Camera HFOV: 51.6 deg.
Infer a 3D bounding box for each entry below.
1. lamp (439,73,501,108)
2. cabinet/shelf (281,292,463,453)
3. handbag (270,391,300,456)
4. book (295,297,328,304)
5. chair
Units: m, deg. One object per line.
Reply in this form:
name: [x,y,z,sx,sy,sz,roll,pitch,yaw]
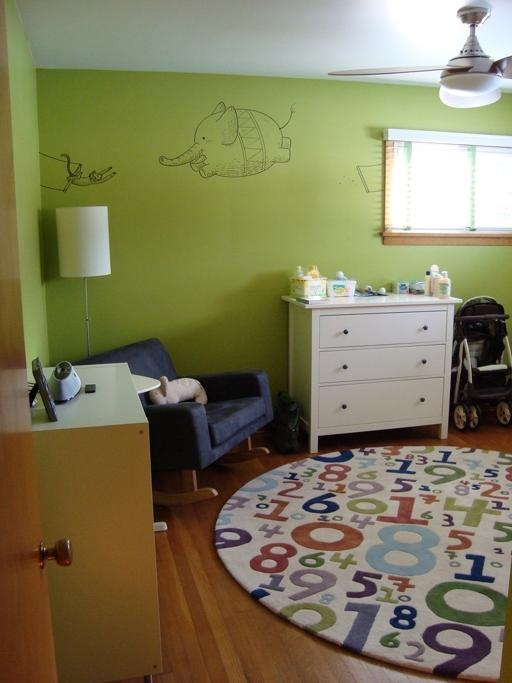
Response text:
lamp: [0.949,-1.127,2.377,0.212,0.055,0.226,1,2,42]
cabinet/shelf: [0.721,0.166,3.914,1.533,1.474,0.889,-3,9,-14]
handbag: [0.198,0.556,3.531,0.172,0.368,0.371,0,3,-6]
book: [0.370,-0.268,3.428,0.093,0.024,0.100,-8,13,-36]
chair: [-0.448,0.444,3.100,0.765,0.837,0.974,-3,6,17]
